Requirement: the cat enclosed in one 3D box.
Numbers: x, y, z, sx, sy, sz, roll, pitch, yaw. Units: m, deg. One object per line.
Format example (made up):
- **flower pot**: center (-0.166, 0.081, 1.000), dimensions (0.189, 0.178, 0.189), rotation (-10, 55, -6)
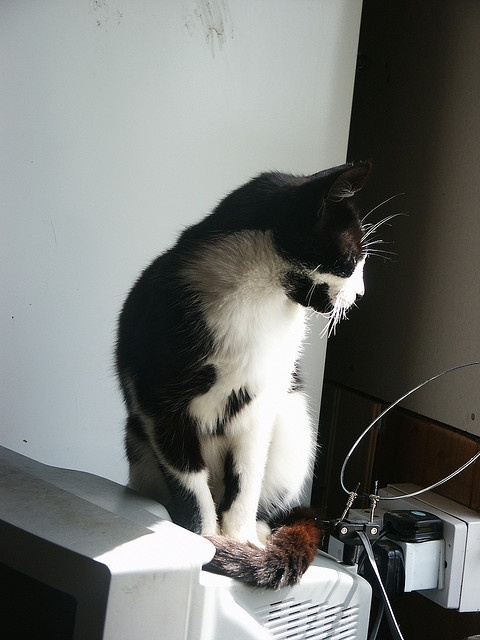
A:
- **cat**: center (-0.022, 0.081, 1.364), dimensions (0.522, 0.774, 0.551), rotation (2, -1, -31)
